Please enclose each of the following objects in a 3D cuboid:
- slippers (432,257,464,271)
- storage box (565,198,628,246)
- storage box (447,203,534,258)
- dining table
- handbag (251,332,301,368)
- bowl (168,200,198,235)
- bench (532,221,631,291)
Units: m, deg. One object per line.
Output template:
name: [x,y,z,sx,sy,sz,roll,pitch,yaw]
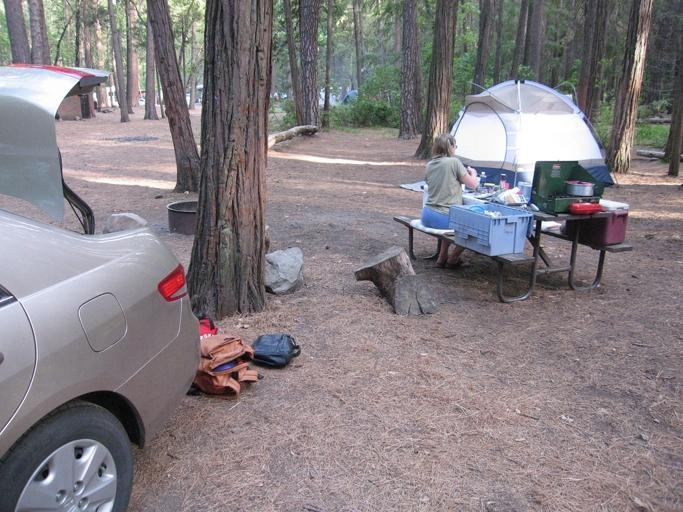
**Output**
slippers: [1.428,0.110,7.468,0.417,0.105,0.157,-3,10,-35]
storage box: [3.049,-0.353,6.698,0.342,0.415,0.603,-6,16,-21]
storage box: [1.674,-0.286,6.325,0.629,0.435,0.797,-5,13,-16]
dining table: [2.058,-0.259,6.369,1.317,0.669,1.286,-7,16,-26]
handbag: [-0.581,0.830,4.941,0.331,0.116,0.278,0,18,-15]
bowl: [-2.327,-0.541,8.213,0.543,0.331,0.538,3,14,-1]
bench: [3.014,0.026,7.031,0.453,0.400,0.805,-9,19,-27]
